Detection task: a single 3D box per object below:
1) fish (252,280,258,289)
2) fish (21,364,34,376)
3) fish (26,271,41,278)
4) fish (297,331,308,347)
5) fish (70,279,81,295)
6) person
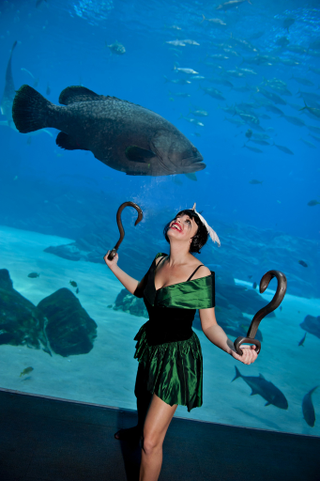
[{"bbox_3d":[1.543,0.728,7.107,0.069,0.183,0.074,-2,56,10],"label":"fish"},{"bbox_3d":[-1.455,1.432,4.810,0.053,0.079,0.219,-12,0,8],"label":"fish"},{"bbox_3d":[-1.692,0.465,5.857,0.194,0.100,0.054,3,5,-37],"label":"fish"},{"bbox_3d":[2.183,1.511,6.658,0.136,0.091,0.241,2,35,35],"label":"fish"},{"bbox_3d":[-1.232,0.670,6.231,0.154,0.143,0.181,7,18,-19],"label":"fish"},{"bbox_3d":[0.064,0.685,2.889,0.534,1.713,1.034,5,20,-27],"label":"person"}]
